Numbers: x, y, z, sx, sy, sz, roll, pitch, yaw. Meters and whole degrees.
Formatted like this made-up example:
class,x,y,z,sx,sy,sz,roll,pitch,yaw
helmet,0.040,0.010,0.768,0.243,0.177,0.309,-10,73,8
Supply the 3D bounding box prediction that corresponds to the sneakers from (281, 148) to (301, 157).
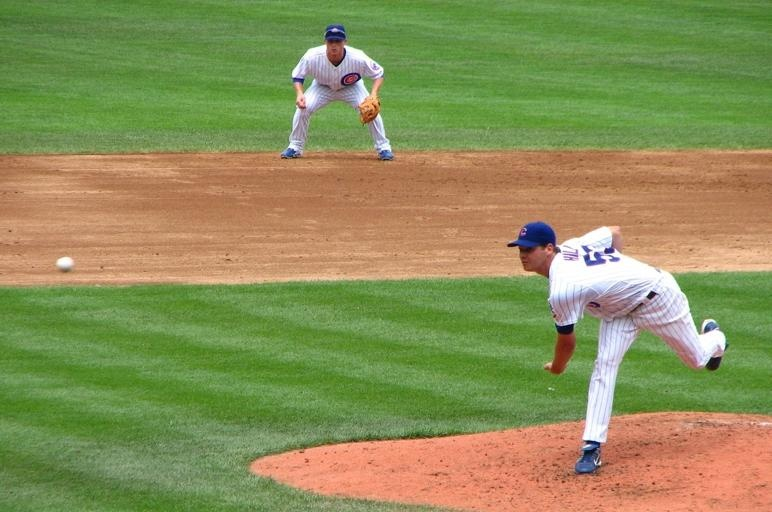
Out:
class,x,y,z,sx,sy,sz,roll,pitch,yaw
sneakers,-1.983,-2.120,34.718,0.452,0.157,0.166,0,3,-28
